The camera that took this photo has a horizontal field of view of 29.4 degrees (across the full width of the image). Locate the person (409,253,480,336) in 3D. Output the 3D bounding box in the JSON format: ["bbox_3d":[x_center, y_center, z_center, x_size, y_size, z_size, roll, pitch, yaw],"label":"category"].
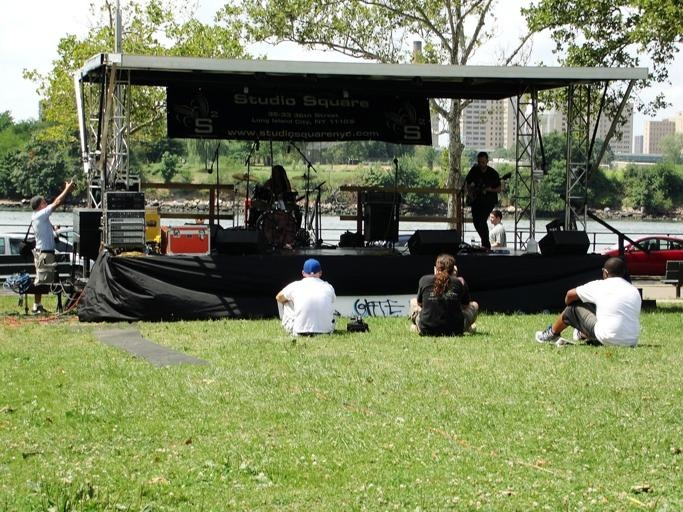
[{"bbox_3d":[1.771,0.590,22.473,1.027,1.463,1.284,1,20,6],"label":"person"}]

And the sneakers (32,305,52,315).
[{"bbox_3d":[-5.832,1.053,25.129,0.429,0.224,0.168,0,-1,35],"label":"sneakers"}]

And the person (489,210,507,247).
[{"bbox_3d":[3.277,-0.553,27.467,0.335,0.769,0.816,0,5,6],"label":"person"}]

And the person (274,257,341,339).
[{"bbox_3d":[-0.597,0.719,22.466,0.893,1.233,1.261,1,14,-4],"label":"person"}]

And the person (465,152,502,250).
[{"bbox_3d":[2.974,-1.201,27.696,0.766,1.971,1.157,0,5,6],"label":"person"}]

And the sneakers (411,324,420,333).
[{"bbox_3d":[1.259,1.264,22.493,0.121,0.078,0.184,5,6,-4],"label":"sneakers"}]

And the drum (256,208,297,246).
[{"bbox_3d":[-1.299,-0.560,26.843,0.941,0.738,0.543,-2,5,-25],"label":"drum"}]

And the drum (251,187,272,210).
[{"bbox_3d":[-1.738,-1.232,28.307,0.502,0.516,0.374,16,7,42],"label":"drum"}]

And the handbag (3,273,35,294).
[{"bbox_3d":[-6.151,0.539,24.956,0.333,0.249,0.595,-1,0,-3],"label":"handbag"}]

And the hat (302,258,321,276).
[{"bbox_3d":[-0.514,0.205,22.337,0.196,0.193,0.308,2,17,5],"label":"hat"}]
